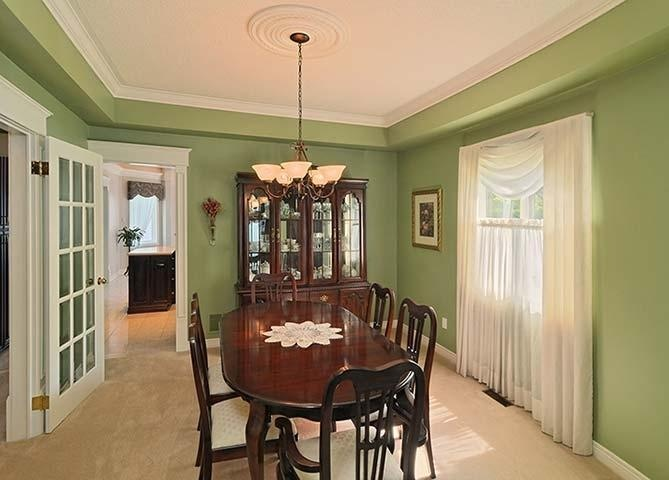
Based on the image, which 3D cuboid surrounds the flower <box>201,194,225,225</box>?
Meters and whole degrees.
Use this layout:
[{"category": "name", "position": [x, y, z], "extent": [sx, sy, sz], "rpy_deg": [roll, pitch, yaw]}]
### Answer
[{"category": "flower", "position": [-1.531, -0.380, 5.455], "extent": [0.288, 0.383, 0.287], "rpy_deg": [2, -1, -42]}]

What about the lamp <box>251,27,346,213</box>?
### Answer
[{"category": "lamp", "position": [-0.320, -1.171, 4.098], "extent": [0.831, 1.519, 0.853], "rpy_deg": [0, 2, 5]}]

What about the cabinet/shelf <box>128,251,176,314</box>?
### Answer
[{"category": "cabinet/shelf", "position": [-3.052, 0.661, 7.525], "extent": [0.808, 1.173, 1.485], "rpy_deg": [-1, 1, -21]}]

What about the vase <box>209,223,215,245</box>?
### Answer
[{"category": "vase", "position": [-1.530, -0.074, 5.503], "extent": [0.067, 0.256, 0.080], "rpy_deg": [1, 1, -18]}]

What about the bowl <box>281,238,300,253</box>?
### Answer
[{"category": "bowl", "position": [-0.557, 0.067, 5.527], "extent": [0.234, 0.161, 0.051], "rpy_deg": [2, 0, -26]}]

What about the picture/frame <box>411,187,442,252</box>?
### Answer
[{"category": "picture/frame", "position": [1.194, -0.278, 5.646], "extent": [0.072, 0.986, 0.804], "rpy_deg": [2, -2, -20]}]

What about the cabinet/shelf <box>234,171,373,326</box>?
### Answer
[{"category": "cabinet/shelf", "position": [-0.442, 0.109, 5.184], "extent": [1.804, 2.270, 0.594], "rpy_deg": [0, 0, -21]}]
